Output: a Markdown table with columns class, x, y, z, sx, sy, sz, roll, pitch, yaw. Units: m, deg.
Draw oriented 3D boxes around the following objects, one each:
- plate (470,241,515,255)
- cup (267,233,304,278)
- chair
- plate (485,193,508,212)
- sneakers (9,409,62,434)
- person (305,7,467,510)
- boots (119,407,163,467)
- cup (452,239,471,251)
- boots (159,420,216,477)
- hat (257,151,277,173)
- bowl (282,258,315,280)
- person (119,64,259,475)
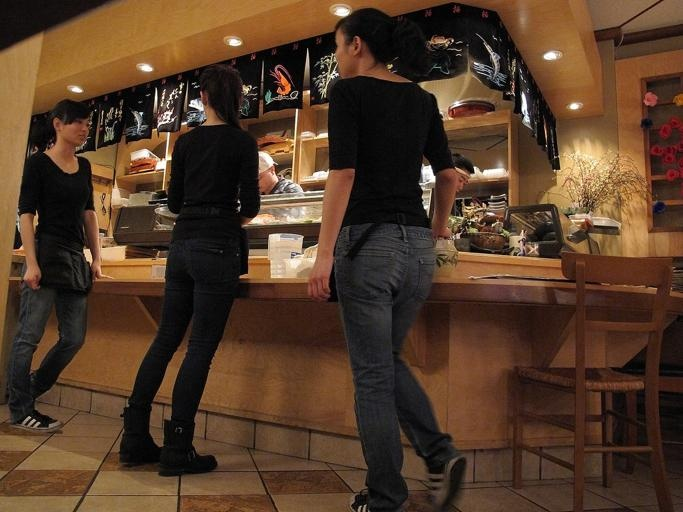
| class | x | y | z | sx | sy | sz | roll | pitch | yaw |
| --- | --- | --- | --- | --- | --- | --- | --- | --- | --- |
| plate | 0.816 | -0.029 | 2.816 | 0.259 | 0.060 | 0.042 | 6 | 25 | -18 |
| cup | -0.317 | 0.001 | 2.584 | 0.216 | 0.238 | 0.213 | 0 | -5 | 0 |
| chair | 1.187 | 0.540 | 2.305 | 0.768 | 1.084 | 0.696 | 4 | -6 | 3 |
| plate | 1.367 | -0.449 | 4.433 | 0.184 | 0.074 | 0.198 | 7 | 30 | 14 |
| sneakers | -1.692 | 0.918 | 2.820 | 0.238 | 0.098 | 0.101 | 1 | -4 | -5 |
| person | 0.175 | -0.014 | 1.814 | 0.573 | 1.724 | 0.251 | 6 | -7 | -17 |
| boots | -0.924 | 0.847 | 2.374 | 0.130 | 0.238 | 0.255 | -13 | -27 | 25 |
| cup | 0.658 | -0.057 | 2.760 | 0.113 | 0.074 | 0.061 | -1 | 3 | 3 |
| boots | -0.689 | 0.866 | 2.303 | 0.117 | 0.226 | 0.296 | -15 | -25 | 37 |
| hat | -0.631 | -0.768 | 4.253 | 0.106 | 0.228 | 0.252 | 5 | -6 | -10 |
| bowl | -0.201 | 0.067 | 2.370 | 0.129 | 0.074 | 0.103 | -3 | -4 | 38 |
| person | -0.658 | 0.036 | 2.355 | 0.572 | 1.871 | 0.261 | 1 | -8 | 26 |
